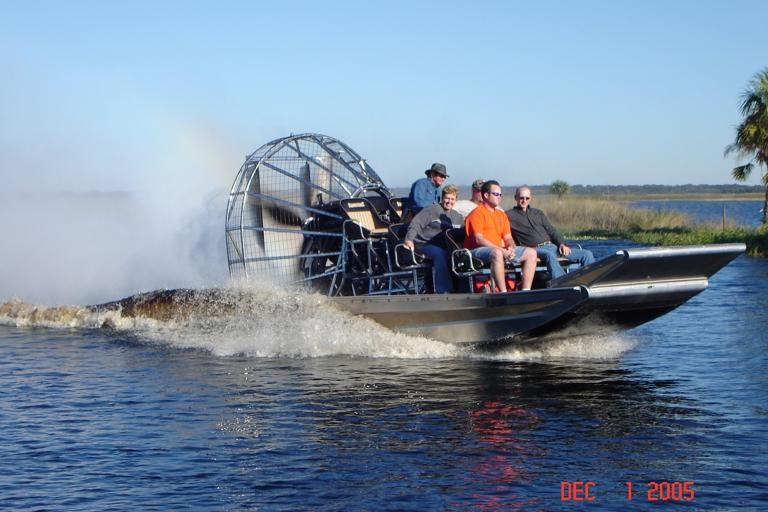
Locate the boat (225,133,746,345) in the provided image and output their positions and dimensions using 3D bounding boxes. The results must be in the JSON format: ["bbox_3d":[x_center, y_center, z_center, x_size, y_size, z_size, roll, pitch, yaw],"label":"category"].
[{"bbox_3d":[1.429,-0.314,22.453,4.449,3.917,11.312,-5,3,-44],"label":"boat"}]

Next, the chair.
[{"bbox_3d":[1.663,-0.186,20.683,2.653,1.149,2.129,0,1,42],"label":"chair"}]

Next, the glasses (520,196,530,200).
[{"bbox_3d":[2.524,-1.037,20.537,0.107,0.086,0.026,1,16,1],"label":"glasses"}]
